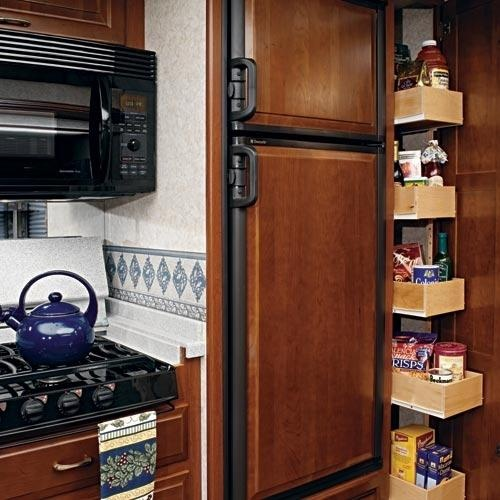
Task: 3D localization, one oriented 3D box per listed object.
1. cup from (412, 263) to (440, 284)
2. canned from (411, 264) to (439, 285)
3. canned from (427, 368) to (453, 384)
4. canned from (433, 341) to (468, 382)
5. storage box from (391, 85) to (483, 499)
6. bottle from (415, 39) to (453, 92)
[{"bbox_3d":[0.645,0.082,1.839,0.066,0.077,0.069,0,-2,0],"label":"cup"},{"bbox_3d":[0.643,0.089,1.840,0.067,0.075,0.070,1,-1,-19],"label":"canned"},{"bbox_3d":[0.696,0.456,1.837,0.082,0.046,0.105,-1,7,24],"label":"canned"},{"bbox_3d":[0.749,0.406,1.877,0.109,0.134,0.116,0,0,1],"label":"canned"},{"bbox_3d":[0.718,0.196,1.930,0.318,1.589,0.393,-1,5,26],"label":"storage box"},{"bbox_3d":[0.707,-0.707,1.937,0.097,0.190,0.088,-3,5,0],"label":"bottle"}]
